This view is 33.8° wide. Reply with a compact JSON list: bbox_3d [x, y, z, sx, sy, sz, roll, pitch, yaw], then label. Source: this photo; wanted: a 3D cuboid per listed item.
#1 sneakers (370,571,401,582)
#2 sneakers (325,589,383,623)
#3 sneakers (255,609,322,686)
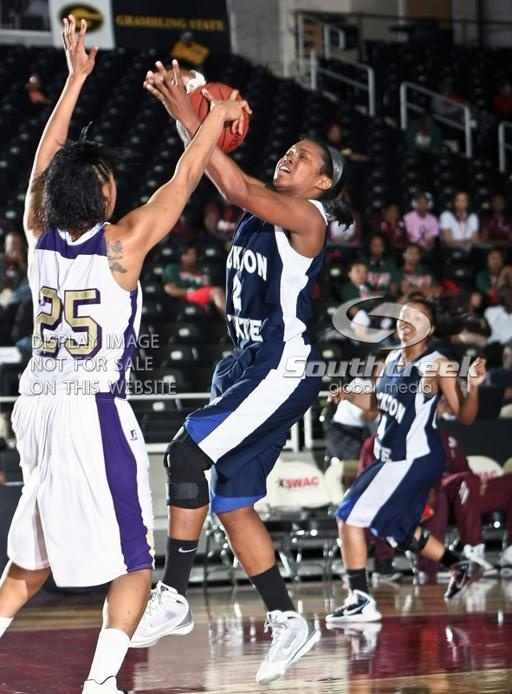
[{"bbox_3d":[0.841,1.504,5.529,0.210,0.072,0.069,-3,-6,5],"label":"sneakers"},{"bbox_3d":[0.461,1.240,4.000,0.348,0.175,0.111,0,-10,5],"label":"sneakers"},{"bbox_3d":[0.105,1.036,2.837,0.189,0.280,0.202,6,11,6],"label":"sneakers"}]
